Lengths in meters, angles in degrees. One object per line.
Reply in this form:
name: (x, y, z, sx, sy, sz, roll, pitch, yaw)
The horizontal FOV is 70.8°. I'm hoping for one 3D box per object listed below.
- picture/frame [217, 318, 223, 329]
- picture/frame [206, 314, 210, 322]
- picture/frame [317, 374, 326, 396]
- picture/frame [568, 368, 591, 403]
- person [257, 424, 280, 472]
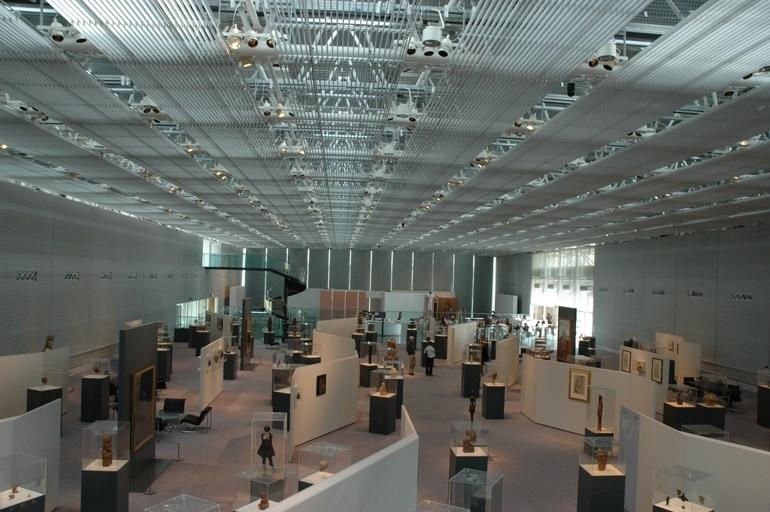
picture/frame: (-8.580, 3.447, 27.941, 0.114, 0.587, 0.555, 3, -5, -36)
picture/frame: (-9.588, 3.234, 29.122, 0.166, 0.463, 0.893, 2, -5, -25)
picture/frame: (-2.035, 3.986, 16.943, 0.097, 0.628, 0.489, -2, -5, 24)
picture/frame: (6.177, 4.116, 17.507, 0.294, 1.087, 0.862, 2, -5, -26)
person: (-2.795, 4.376, 12.550, 0.387, 0.961, 0.878, 1, -4, -14)
